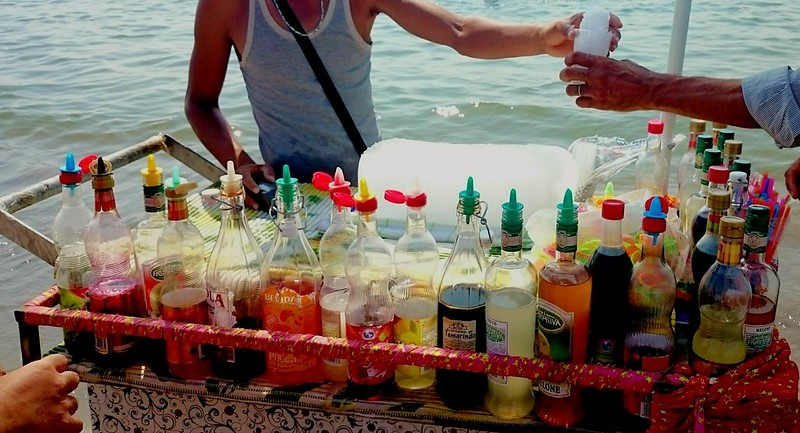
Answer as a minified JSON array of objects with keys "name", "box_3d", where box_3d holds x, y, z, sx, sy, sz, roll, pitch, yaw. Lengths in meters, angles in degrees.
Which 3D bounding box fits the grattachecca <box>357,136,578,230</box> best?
[{"name":"grattachecca","box_3d":[0.328,-0.143,3.561,0.889,0.237,0.442,0,38,4]}]

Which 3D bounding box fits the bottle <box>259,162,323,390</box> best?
[{"name":"bottle","box_3d":[-0.431,0.232,2.901,0.246,0.845,0.247,0,20,0]}]

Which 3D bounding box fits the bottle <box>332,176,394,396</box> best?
[{"name":"bottle","box_3d":[-0.129,0.264,2.862,0.207,0.797,0.253,-2,20,-4]}]

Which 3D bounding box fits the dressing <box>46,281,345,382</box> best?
[{"name":"dressing","box_3d":[-0.816,0.467,2.976,0.872,0.130,0.424,6,15,5]}]

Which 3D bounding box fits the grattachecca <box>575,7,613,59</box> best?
[{"name":"grattachecca","box_3d":[0.859,-0.814,3.263,0.158,0.200,0.139,4,20,12]}]

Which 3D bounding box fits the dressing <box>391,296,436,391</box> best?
[{"name":"dressing","box_3d":[0.064,0.496,2.913,0.164,0.352,0.119,0,20,1]}]
